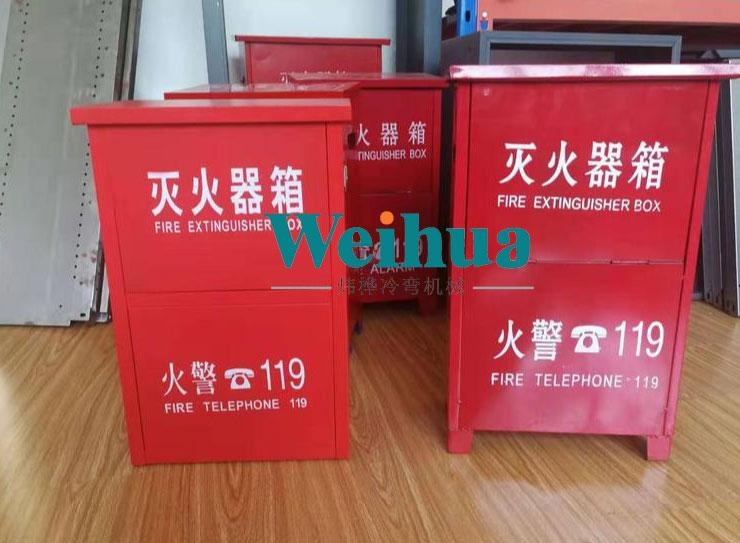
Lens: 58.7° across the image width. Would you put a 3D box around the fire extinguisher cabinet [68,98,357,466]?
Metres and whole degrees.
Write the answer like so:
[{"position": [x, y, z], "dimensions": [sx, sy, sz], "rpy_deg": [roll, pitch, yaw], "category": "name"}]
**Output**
[{"position": [-0.490, -0.070, 2.809], "dimensions": [1.110, 1.732, 1.152], "rpy_deg": [-1, 16, -3], "category": "fire extinguisher cabinet"}]
